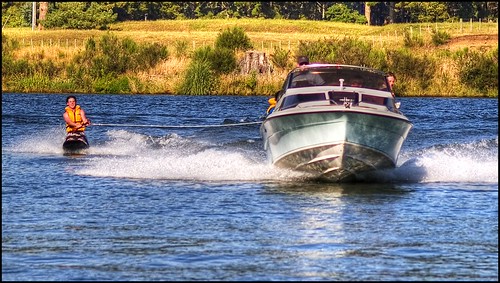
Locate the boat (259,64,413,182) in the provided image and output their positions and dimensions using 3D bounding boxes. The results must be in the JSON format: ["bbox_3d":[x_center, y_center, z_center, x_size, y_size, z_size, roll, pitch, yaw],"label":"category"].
[{"bbox_3d":[4.049,-0.913,42.808,7.095,5.482,3.011,-1,14,0],"label":"boat"}]

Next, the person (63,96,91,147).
[{"bbox_3d":[-9.163,-0.954,46.519,1.334,2.903,0.891,-4,14,-8],"label":"person"}]
